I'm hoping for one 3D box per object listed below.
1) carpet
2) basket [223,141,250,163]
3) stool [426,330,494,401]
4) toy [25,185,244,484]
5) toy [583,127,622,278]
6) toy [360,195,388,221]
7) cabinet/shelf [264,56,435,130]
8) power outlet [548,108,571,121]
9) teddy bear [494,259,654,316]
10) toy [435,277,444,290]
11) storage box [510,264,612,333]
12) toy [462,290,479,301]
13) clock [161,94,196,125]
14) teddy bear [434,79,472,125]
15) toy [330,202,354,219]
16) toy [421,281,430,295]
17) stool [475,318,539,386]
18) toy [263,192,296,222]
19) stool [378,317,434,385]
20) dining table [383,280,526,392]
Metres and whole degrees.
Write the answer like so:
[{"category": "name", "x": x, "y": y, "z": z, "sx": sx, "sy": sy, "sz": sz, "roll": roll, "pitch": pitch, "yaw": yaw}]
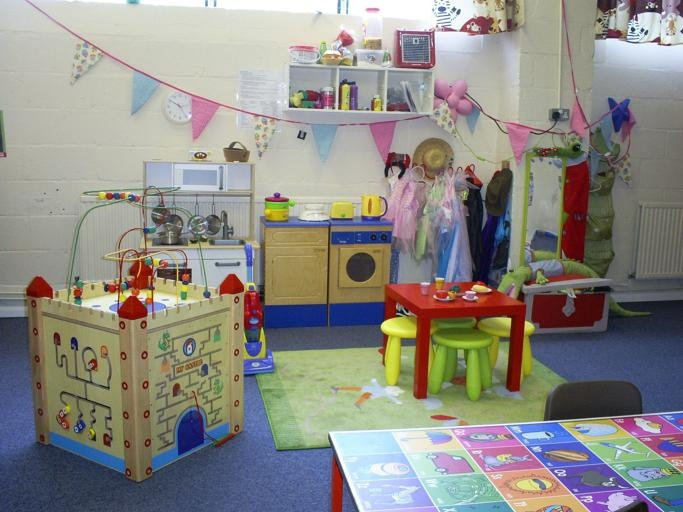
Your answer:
[{"category": "carpet", "x": 0.339, "y": 0.894, "z": 3.882, "sx": 1.653, "sy": 0.016, "sz": 1.039, "roll": -2, "pitch": 21, "yaw": -17}, {"category": "basket", "x": -0.908, "y": -0.917, "z": 5.017, "sx": 0.272, "sy": 0.224, "sz": 0.207, "roll": -3, "pitch": 17, "yaw": -17}, {"category": "stool", "x": 0.798, "y": 0.738, "z": 3.828, "sx": 0.345, "sy": 0.392, "sz": 0.357, "roll": 5, "pitch": 3, "yaw": 22}, {"category": "toy", "x": -1.143, "y": 0.345, "z": 3.249, "sx": 1.085, "sy": 1.435, "sz": 1.103, "roll": -4, "pitch": 9, "yaw": -38}, {"category": "toy", "x": 2.632, "y": -0.550, "z": 5.739, "sx": 0.336, "sy": 1.477, "sz": 0.413, "roll": 4, "pitch": 14, "yaw": 11}, {"category": "toy", "x": 0.334, "y": -0.472, "z": 5.311, "sx": 0.181, "sy": 0.224, "sz": 0.380, "roll": 10, "pitch": 16, "yaw": 31}, {"category": "cabinet/shelf", "x": 0.140, "y": -1.529, "z": 5.182, "sx": 1.312, "sy": 0.456, "sz": 0.378, "roll": 0, "pitch": 14, "yaw": -7}, {"category": "power outlet", "x": 2.053, "y": -1.336, "z": 5.301, "sx": 0.183, "sy": 0.127, "sz": 0.119, "roll": -1, "pitch": 15, "yaw": -5}, {"category": "teddy bear", "x": 2.011, "y": 0.174, "z": 5.105, "sx": 1.108, "sy": 0.384, "sz": 0.623, "roll": 6, "pitch": -7, "yaw": -6}, {"category": "toy", "x": 0.683, "y": 0.195, "z": 3.976, "sx": 0.078, "sy": 0.082, "sz": 0.076, "roll": 3, "pitch": 6, "yaw": 14}, {"category": "storage box", "x": 2.073, "y": 0.510, "z": 5.301, "sx": 0.773, "sy": 0.459, "sz": 0.810, "roll": -2, "pitch": -8, "yaw": 21}, {"category": "toy", "x": 0.878, "y": 0.272, "z": 3.872, "sx": 0.075, "sy": 0.037, "sz": 0.076, "roll": -1, "pitch": 6, "yaw": -7}, {"category": "clock", "x": -1.469, "y": -1.335, "z": 5.052, "sx": 0.247, "sy": 0.251, "sz": 0.041, "roll": 6, "pitch": 6, "yaw": -19}, {"category": "teddy bear", "x": 1.064, "y": -1.520, "z": 5.514, "sx": 0.380, "sy": 0.387, "sz": 0.156, "roll": -27, "pitch": 28, "yaw": -20}, {"category": "toy", "x": 0.006, "y": -0.424, "z": 5.196, "sx": 0.202, "sy": 0.141, "sz": 0.146, "roll": -1, "pitch": 14, "yaw": -4}, {"category": "toy", "x": 0.593, "y": 0.234, "z": 3.991, "sx": 0.067, "sy": 0.076, "sz": 0.070, "roll": 2, "pitch": 6, "yaw": 2}, {"category": "stool", "x": 1.182, "y": 0.668, "z": 4.180, "sx": 0.431, "sy": 0.431, "sz": 0.418, "roll": -3, "pitch": 13, "yaw": -2}, {"category": "toy", "x": -0.561, "y": -0.440, "z": 5.087, "sx": 0.298, "sy": 0.225, "sz": 0.212, "roll": 1, "pitch": 9, "yaw": -7}, {"category": "stool", "x": 0.344, "y": 0.683, "z": 3.936, "sx": 0.424, "sy": 0.292, "sz": 0.429, "roll": 26, "pitch": -10, "yaw": 6}, {"category": "dining table", "x": 0.771, "y": 0.509, "z": 4.011, "sx": 0.790, "sy": 0.625, "sz": 0.815, "roll": 0, "pitch": 8, "yaw": -11}]
